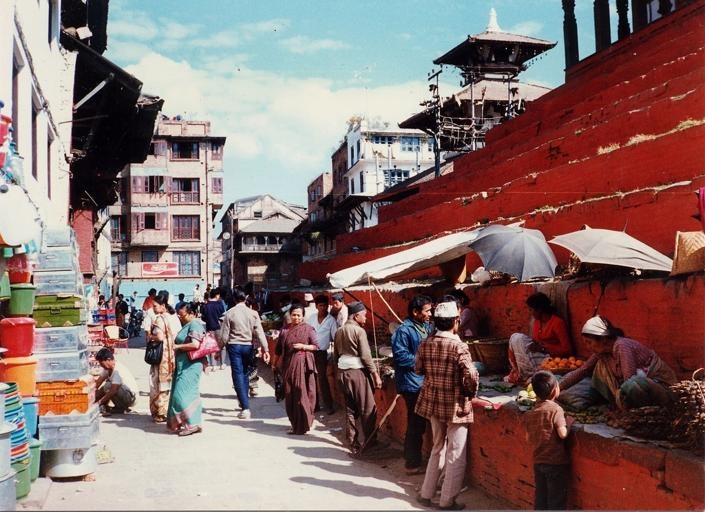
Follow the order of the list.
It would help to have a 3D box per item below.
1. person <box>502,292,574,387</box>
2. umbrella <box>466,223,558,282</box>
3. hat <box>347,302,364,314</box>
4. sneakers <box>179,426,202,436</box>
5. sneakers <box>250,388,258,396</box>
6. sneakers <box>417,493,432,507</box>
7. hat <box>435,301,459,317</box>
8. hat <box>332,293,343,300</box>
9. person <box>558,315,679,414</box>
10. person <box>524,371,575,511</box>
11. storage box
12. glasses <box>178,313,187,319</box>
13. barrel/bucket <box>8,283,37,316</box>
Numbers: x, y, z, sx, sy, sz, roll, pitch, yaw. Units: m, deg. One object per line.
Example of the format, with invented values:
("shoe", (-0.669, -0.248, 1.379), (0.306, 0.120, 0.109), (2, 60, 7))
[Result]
("person", (2.770, 1.338, 10.016), (1.066, 1.544, 1.134), (5, -17, 10))
("umbrella", (2.331, -0.049, 10.197), (1.218, 0.817, 0.866), (-2, 0, 12))
("hat", (0.051, 0.796, 10.628), (0.186, 0.121, 0.192), (-8, -1, 18))
("sneakers", (-2.563, 2.755, 11.023), (0.359, 0.178, 0.129), (10, -16, -34))
("sneakers", (-2.033, 2.793, 14.303), (0.187, 0.189, 0.109), (1, 1, -10))
("sneakers", (0.859, 2.943, 8.450), (0.093, 0.182, 0.184), (1, 7, -3))
("hat", (1.120, 0.648, 8.367), (0.298, 0.200, 0.201), (-2, 0, -6))
("hat", (-0.257, 0.735, 12.129), (0.243, 0.122, 0.336), (0, -2, 1))
("person", (3.050, 1.266, 8.156), (1.172, 1.023, 0.925), (-5, -11, 15))
("person", (2.098, 1.989, 7.505), (0.417, 1.512, 0.231), (-2, 0, 13))
("storage box", (-3.737, 1.033, 9.007), (0.693, 2.501, 0.602), (-1, 0, -23))
("glasses", (-2.750, 0.990, 11.375), (0.139, 0.149, 0.044), (-4, 0, 19))
("barrel/bucket", (-4.007, 0.548, 8.462), (0.316, 0.342, 0.347), (0, -9, 0))
